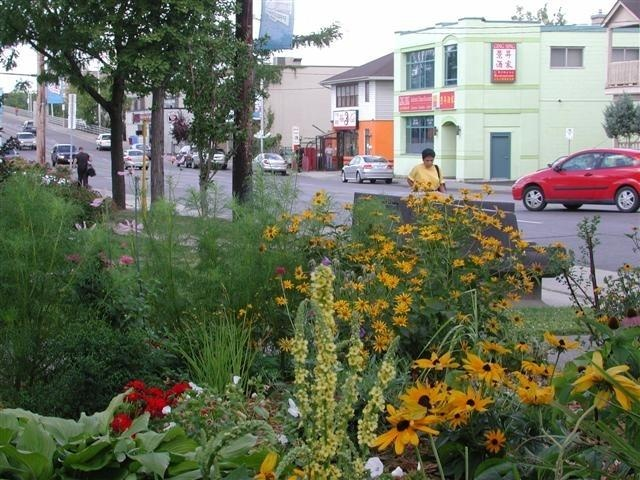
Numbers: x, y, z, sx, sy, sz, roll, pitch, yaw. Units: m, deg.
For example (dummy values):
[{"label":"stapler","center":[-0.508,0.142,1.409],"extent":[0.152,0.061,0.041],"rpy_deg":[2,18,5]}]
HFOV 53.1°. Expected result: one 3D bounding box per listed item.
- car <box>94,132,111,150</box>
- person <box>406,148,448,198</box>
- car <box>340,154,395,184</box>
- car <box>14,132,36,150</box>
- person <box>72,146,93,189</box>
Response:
[{"label":"car","center":[-22.803,-10.399,67.752],"extent":[0.954,1.267,3.188],"rpy_deg":[-2,2,-27]},{"label":"person","center":[1.779,-1.036,10.664],"extent":[0.575,1.016,0.467],"rpy_deg":[5,-8,-7]},{"label":"car","center":[3.157,-4.439,40.288],"extent":[2.811,1.940,3.983],"rpy_deg":[-3,3,-30]},{"label":"car","center":[-31.241,-10.557,68.442],"extent":[1.544,1.515,3.153],"rpy_deg":[-3,2,-30]},{"label":"person","center":[-10.033,-3.126,27.126],"extent":[0.621,1.875,0.609],"rpy_deg":[5,24,-10]}]
